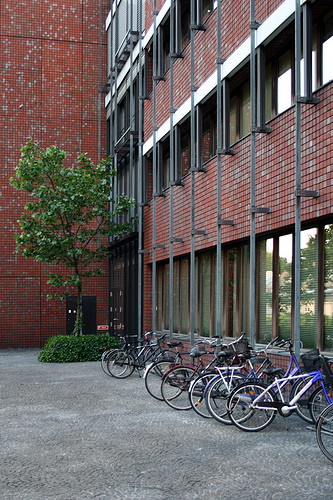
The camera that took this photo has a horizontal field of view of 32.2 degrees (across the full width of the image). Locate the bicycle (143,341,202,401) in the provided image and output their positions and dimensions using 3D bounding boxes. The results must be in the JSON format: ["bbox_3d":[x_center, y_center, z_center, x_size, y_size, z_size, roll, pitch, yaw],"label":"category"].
[{"bbox_3d":[0.366,2.394,10.946,0.761,1.113,1.757,-12,-15,2],"label":"bicycle"}]

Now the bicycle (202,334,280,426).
[{"bbox_3d":[1.047,1.745,7.578,1.240,0.904,0.706,-5,-8,-18],"label":"bicycle"}]

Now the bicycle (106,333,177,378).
[{"bbox_3d":[-0.583,2.275,12.021,1.604,1.171,0.859,-4,-8,-3],"label":"bicycle"}]

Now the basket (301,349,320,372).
[{"bbox_3d":[1.580,1.199,6.335,0.209,0.326,0.250,1,-5,-2],"label":"basket"}]

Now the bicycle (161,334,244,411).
[{"bbox_3d":[0.558,1.862,8.735,1.359,0.971,0.759,-2,-4,-20],"label":"bicycle"}]

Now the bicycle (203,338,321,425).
[{"bbox_3d":[1.092,1.576,6.860,1.406,1.053,0.815,-3,-10,9],"label":"bicycle"}]

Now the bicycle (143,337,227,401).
[{"bbox_3d":[0.328,1.918,9.536,1.522,1.077,0.806,-3,-4,-18],"label":"bicycle"}]
